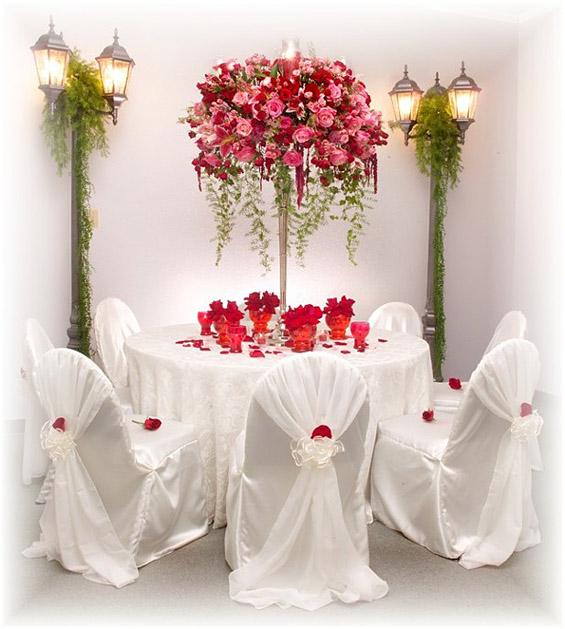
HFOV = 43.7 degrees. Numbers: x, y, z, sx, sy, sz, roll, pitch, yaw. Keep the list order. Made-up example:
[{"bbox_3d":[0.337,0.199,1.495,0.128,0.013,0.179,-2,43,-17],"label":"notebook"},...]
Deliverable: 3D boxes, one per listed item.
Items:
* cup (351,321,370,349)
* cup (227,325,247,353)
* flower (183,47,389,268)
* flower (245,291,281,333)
[{"bbox_3d":[0.375,0.097,3.409,0.091,0.180,0.106,-1,4,1],"label":"cup"},{"bbox_3d":[-0.215,0.108,3.269,0.093,0.169,0.100,0,2,0],"label":"cup"},{"bbox_3d":[-0.017,-0.720,3.355,0.718,0.980,0.779,0,10,-17],"label":"flower"},{"bbox_3d":[-0.101,0.000,3.646,0.164,0.226,0.186,1,-2,-10],"label":"flower"}]
